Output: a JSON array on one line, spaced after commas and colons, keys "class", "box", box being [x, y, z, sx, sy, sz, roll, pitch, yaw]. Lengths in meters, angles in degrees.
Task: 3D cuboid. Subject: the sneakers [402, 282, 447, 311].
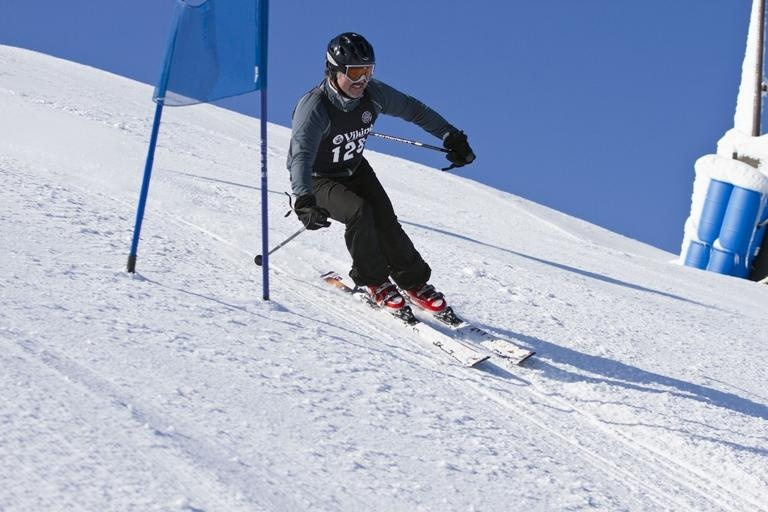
[{"class": "sneakers", "box": [0.441, 0.374, 7.160, 0.501, 0.161, 0.168, 31, 57, 33]}]

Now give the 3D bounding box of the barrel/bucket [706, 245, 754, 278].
[{"class": "barrel/bucket", "box": [8.901, 0.135, 19.464, 0.876, 0.716, 0.774, 16, 1, -13]}]

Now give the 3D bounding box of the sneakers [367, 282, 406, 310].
[{"class": "sneakers", "box": [0.028, 0.348, 6.963, 0.396, 0.151, 0.184, 30, 45, 32]}]

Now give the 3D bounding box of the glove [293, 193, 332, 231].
[{"class": "glove", "box": [-0.616, -0.367, 6.369, 0.346, 0.245, 0.148, 37, 34, 12]}]
